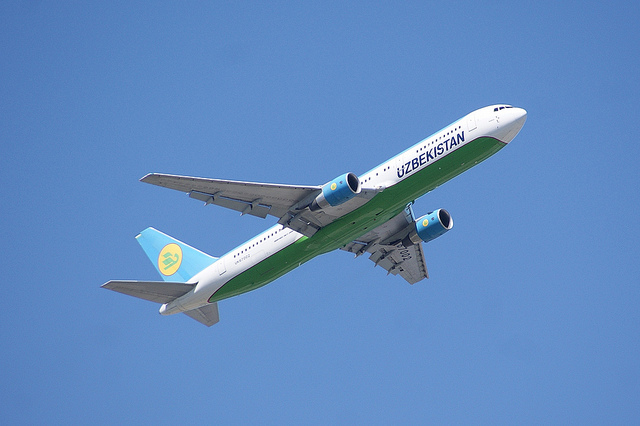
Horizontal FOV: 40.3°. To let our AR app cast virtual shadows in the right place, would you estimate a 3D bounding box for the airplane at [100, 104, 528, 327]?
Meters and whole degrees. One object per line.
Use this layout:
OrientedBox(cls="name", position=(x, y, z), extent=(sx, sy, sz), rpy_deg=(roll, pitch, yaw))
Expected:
OrientedBox(cls="airplane", position=(-0.250, 0.541, 49.557), extent=(20.413, 12.698, 8.105), rpy_deg=(-2, 8, -2))
